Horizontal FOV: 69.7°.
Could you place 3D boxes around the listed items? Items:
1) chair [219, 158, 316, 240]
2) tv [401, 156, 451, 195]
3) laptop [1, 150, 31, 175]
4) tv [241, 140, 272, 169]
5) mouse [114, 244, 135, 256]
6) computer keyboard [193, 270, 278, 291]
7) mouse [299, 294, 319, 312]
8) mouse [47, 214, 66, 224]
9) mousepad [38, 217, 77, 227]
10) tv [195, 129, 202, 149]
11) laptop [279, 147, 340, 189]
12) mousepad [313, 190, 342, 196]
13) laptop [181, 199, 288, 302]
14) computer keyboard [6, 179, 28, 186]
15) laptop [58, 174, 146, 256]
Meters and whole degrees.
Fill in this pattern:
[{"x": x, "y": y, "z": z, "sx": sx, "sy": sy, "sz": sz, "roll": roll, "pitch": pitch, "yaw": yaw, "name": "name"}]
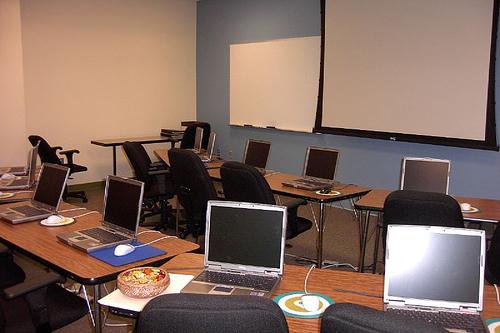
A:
[{"x": 0.266, "y": 0.277, "z": 3.788, "sx": 0.884, "sy": 0.964, "sz": 0.875, "roll": -9, "pitch": 13, "yaw": -44, "name": "chair"}, {"x": 1.766, "y": 0.099, "z": 3.631, "sx": 0.464, "sy": 0.443, "sz": 0.121, "roll": 4, "pitch": 3, "yaw": 27, "name": "tv"}, {"x": -2.855, "y": 0.008, "z": 4.402, "sx": 0.296, "sy": 0.349, "sz": 0.474, "roll": 5, "pitch": 6, "yaw": -16, "name": "laptop"}, {"x": 0.099, "y": -0.162, "z": 4.864, "sx": 0.480, "sy": 0.477, "sz": 0.038, "roll": 17, "pitch": -4, "yaw": 34, "name": "tv"}, {"x": -0.856, "y": 0.558, "z": 2.461, "sx": 0.125, "sy": 0.069, "sz": 0.170, "roll": 3, "pitch": 4, "yaw": -11, "name": "mouse"}, {"x": -0.083, "y": 0.660, "z": 2.102, "sx": 0.462, "sy": 0.040, "sz": 0.133, "roll": 4, "pitch": 4, "yaw": 12, "name": "computer keyboard"}, {"x": 0.323, "y": 0.724, "z": 1.910, "sx": 0.106, "sy": 0.077, "sz": 0.074, "roll": 3, "pitch": 4, "yaw": -3, "name": "mouse"}, {"x": -1.593, "y": 0.426, "z": 2.937, "sx": 0.066, "sy": 0.029, "sz": 0.093, "roll": 10, "pitch": 13, "yaw": 29, "name": "mouse"}, {"x": -1.592, "y": 0.462, "z": 2.960, "sx": 0.284, "sy": 0.044, "sz": 0.183, "roll": 2, "pitch": 4, "yaw": -22, "name": "mousepad"}, {"x": -0.850, "y": -0.451, "z": 5.906, "sx": 0.035, "sy": 0.437, "sz": 0.373, "roll": -1, "pitch": 6, "yaw": -24, "name": "tv"}, {"x": 0.704, "y": 0.020, "z": 4.184, "sx": 0.553, "sy": 0.384, "sz": 0.527, "roll": -13, "pitch": 18, "yaw": -41, "name": "laptop"}, {"x": 0.848, "y": 0.289, "z": 3.925, "sx": 0.307, "sy": 0.036, "sz": 0.210, "roll": 3, "pitch": 4, "yaw": 1, "name": "mousepad"}, {"x": -0.050, "y": 0.503, "z": 2.142, "sx": 0.525, "sy": 0.376, "sz": 0.558, "roll": 5, "pitch": 11, "yaw": 17, "name": "laptop"}, {"x": -2.563, "y": 0.179, "z": 3.933, "sx": 0.228, "sy": 0.016, "sz": 0.164, "roll": 1, "pitch": 14, "yaw": 22, "name": "computer keyboard"}, {"x": -1.022, "y": 0.367, "z": 2.713, "sx": 0.574, "sy": 0.468, "sz": 0.589, "roll": 13, "pitch": 16, "yaw": 42, "name": "laptop"}]
